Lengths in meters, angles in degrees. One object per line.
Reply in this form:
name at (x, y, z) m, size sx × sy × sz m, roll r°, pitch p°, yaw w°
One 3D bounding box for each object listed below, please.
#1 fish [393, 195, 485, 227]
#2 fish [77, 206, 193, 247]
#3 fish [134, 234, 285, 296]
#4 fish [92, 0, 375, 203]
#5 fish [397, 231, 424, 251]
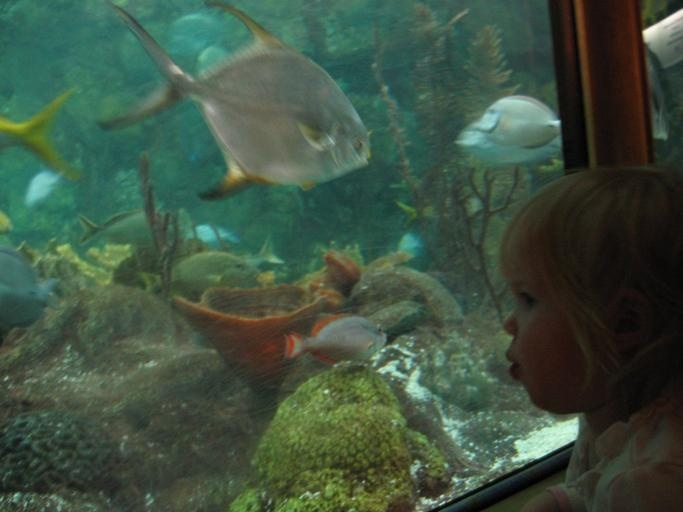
fish at (0.376, -0.189, 2.918) m, size 0.341 × 0.111 × 0.052 m, roll -20°, pitch 4°, yaw -24°
fish at (-0.685, -0.115, 2.729) m, size 0.464 × 0.207 × 0.126 m, roll -2°, pitch 5°, yaw -19°
fish at (-0.461, 0.011, 2.675) m, size 0.477 × 0.184 × 0.162 m, roll -12°, pitch 14°, yaw -17°
fish at (-0.337, -0.551, 2.494) m, size 0.710 × 0.670 × 0.212 m, roll -16°, pitch 3°, yaw 10°
fish at (0.260, -0.052, 2.898) m, size 0.102 × 0.072 × 0.019 m, roll -19°, pitch 4°, yaw -22°
